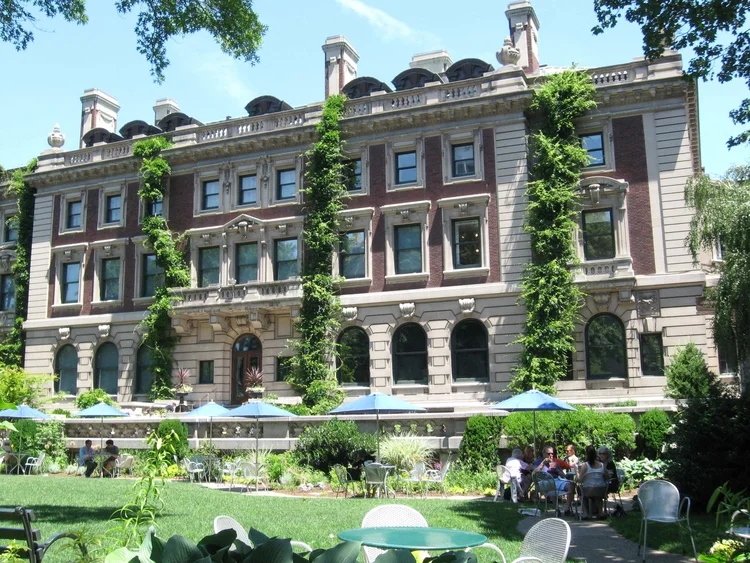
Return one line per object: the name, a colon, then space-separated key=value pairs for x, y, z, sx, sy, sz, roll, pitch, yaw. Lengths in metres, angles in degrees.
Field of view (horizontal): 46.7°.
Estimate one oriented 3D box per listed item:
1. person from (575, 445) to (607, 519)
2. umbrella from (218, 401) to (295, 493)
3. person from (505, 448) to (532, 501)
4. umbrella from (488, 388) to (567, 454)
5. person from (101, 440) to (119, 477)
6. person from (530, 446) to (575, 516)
person: x=5.698 y=5.189 z=22.666 sx=0.757 sy=1.811 sz=1.047 roll=-4 pitch=-11 yaw=13
umbrella: x=-3.961 y=5.474 z=29.603 sx=2.205 sy=2.929 sz=3.734 roll=-1 pitch=-11 yaw=-6
person: x=4.212 y=5.609 z=25.381 sx=0.895 sy=1.520 sz=0.718 roll=0 pitch=-4 yaw=-21
umbrella: x=4.427 y=3.987 z=25.894 sx=2.025 sy=1.318 sz=1.992 roll=9 pitch=-22 yaw=-31
person: x=-9.853 y=6.488 z=32.291 sx=0.539 sy=1.366 sz=1.261 roll=1 pitch=-11 yaw=-16
person: x=4.943 y=5.367 z=23.747 sx=1.064 sy=1.907 sz=0.853 roll=-19 pitch=-12 yaw=42
